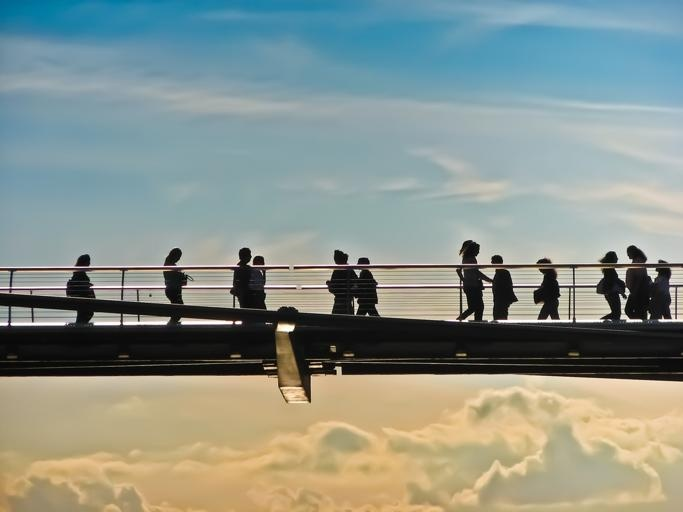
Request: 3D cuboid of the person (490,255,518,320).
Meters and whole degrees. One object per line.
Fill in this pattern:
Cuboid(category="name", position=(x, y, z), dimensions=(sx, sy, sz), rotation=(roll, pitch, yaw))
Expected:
Cuboid(category="person", position=(3.477, 0.722, 33.385), dimensions=(0.736, 1.633, 0.547), rotation=(8, -45, 5))

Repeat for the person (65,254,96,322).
Cuboid(category="person", position=(-5.986, 0.740, 35.893), dimensions=(0.662, 1.279, 3.098), rotation=(-3, -1, -10))

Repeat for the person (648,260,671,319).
Cuboid(category="person", position=(7.190, 0.760, 35.010), dimensions=(0.508, 1.217, 0.563), rotation=(-4, -1, 9))

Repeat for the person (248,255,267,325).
Cuboid(category="person", position=(-1.870, 0.675, 35.590), dimensions=(0.336, 0.947, 0.318), rotation=(-4, -1, 11))

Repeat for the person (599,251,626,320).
Cuboid(category="person", position=(6.128, 0.756, 35.110), dimensions=(0.635, 1.337, 0.651), rotation=(-4, -1, 9))

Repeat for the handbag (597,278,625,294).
Cuboid(category="handbag", position=(6.106, 0.671, 35.262), dimensions=(0.845, 0.426, 0.445), rotation=(-2, 9, -1))

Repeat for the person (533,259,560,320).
Cuboid(category="person", position=(4.672, 0.771, 35.255), dimensions=(0.581, 1.217, 0.557), rotation=(-4, -1, 8))
